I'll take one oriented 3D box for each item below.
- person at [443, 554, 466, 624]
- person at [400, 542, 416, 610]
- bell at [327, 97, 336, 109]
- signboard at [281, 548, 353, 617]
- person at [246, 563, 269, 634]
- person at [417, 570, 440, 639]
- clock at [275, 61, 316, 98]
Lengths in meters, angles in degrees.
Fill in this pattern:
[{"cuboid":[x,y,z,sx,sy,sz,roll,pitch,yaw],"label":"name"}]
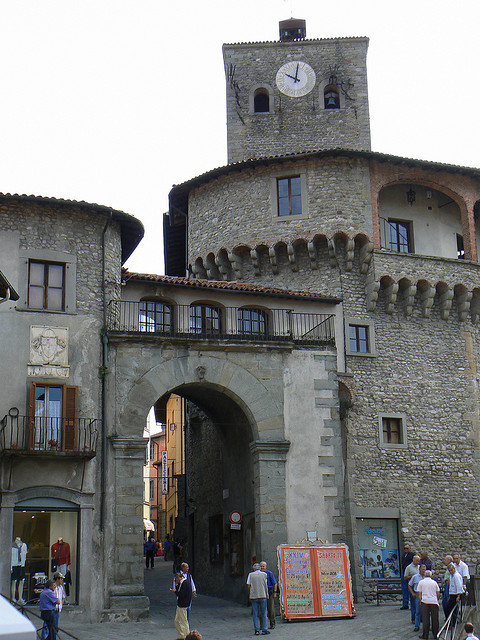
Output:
[{"cuboid":[4.033,5.084,14.516,0.401,1.159,1.877,-5,-13,14],"label":"person"},{"cuboid":[3.954,6.055,18.072,0.478,1.572,0.469,-3,2,7],"label":"person"},{"cuboid":[3.689,-8.847,31.476,0.369,0.466,0.568,8,29,-3],"label":"bell"},{"cuboid":[1.680,6.028,17.558,1.562,1.641,0.176,3,-30,-21],"label":"signboard"},{"cuboid":[0.373,5.695,15.608,0.371,1.131,0.824,-2,-12,0],"label":"person"},{"cuboid":[3.426,5.183,14.025,0.387,1.139,0.726,-4,-12,12],"label":"person"},{"cuboid":[2.272,-9.766,31.469,1.610,1.706,0.113,1,-21,-5],"label":"clock"}]
